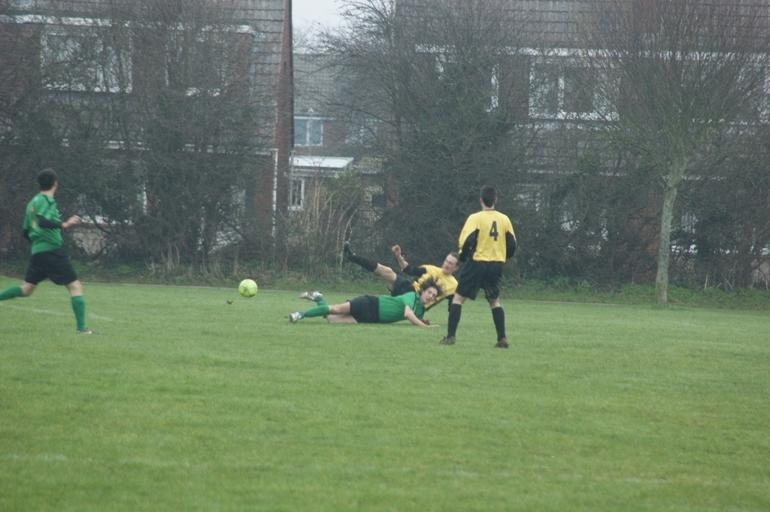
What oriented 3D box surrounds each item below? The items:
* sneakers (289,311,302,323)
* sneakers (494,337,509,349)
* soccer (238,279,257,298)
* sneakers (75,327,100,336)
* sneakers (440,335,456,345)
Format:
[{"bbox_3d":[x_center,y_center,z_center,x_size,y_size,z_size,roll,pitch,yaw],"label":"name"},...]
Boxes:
[{"bbox_3d":[-1.943,1.327,23.090,0.297,0.273,0.339,-2,14,-14],"label":"sneakers"},{"bbox_3d":[2.404,1.744,21.567,0.272,0.204,0.331,2,14,3],"label":"sneakers"},{"bbox_3d":[-3.342,0.780,25.632,0.544,0.543,0.540,0,3,-4],"label":"soccer"},{"bbox_3d":[-6.016,1.522,21.220,0.454,0.192,0.153,1,3,-5],"label":"sneakers"},{"bbox_3d":[1.267,1.721,21.590,0.251,0.135,0.154,-4,-3,24],"label":"sneakers"}]
